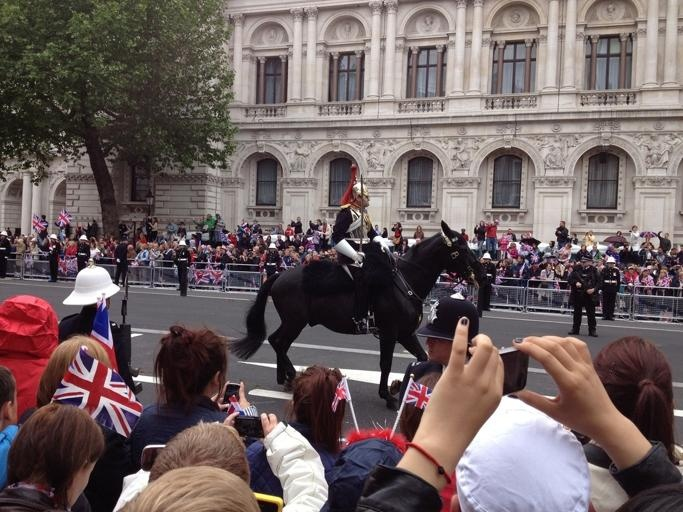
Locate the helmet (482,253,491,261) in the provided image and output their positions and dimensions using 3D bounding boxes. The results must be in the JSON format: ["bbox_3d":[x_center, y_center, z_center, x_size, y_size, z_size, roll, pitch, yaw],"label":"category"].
[{"bbox_3d":[5.864,0.000,41.907,0.310,0.189,0.380,0,-1,11],"label":"helmet"}]

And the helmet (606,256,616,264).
[{"bbox_3d":[9.921,0.132,38.051,0.275,0.183,0.381,0,-4,17],"label":"helmet"}]

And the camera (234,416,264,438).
[{"bbox_3d":[-2.073,3.772,22.902,0.683,0.373,0.108,4,1,3],"label":"camera"}]

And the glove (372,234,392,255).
[{"bbox_3d":[1.122,-0.332,27.950,0.425,0.176,0.569,29,8,2],"label":"glove"}]

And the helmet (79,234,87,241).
[{"bbox_3d":[-11.637,-0.829,46.130,0.400,0.283,0.547,4,0,-6],"label":"helmet"}]

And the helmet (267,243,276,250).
[{"bbox_3d":[-3.059,-0.513,44.895,0.298,0.311,0.546,11,-1,1],"label":"helmet"}]
